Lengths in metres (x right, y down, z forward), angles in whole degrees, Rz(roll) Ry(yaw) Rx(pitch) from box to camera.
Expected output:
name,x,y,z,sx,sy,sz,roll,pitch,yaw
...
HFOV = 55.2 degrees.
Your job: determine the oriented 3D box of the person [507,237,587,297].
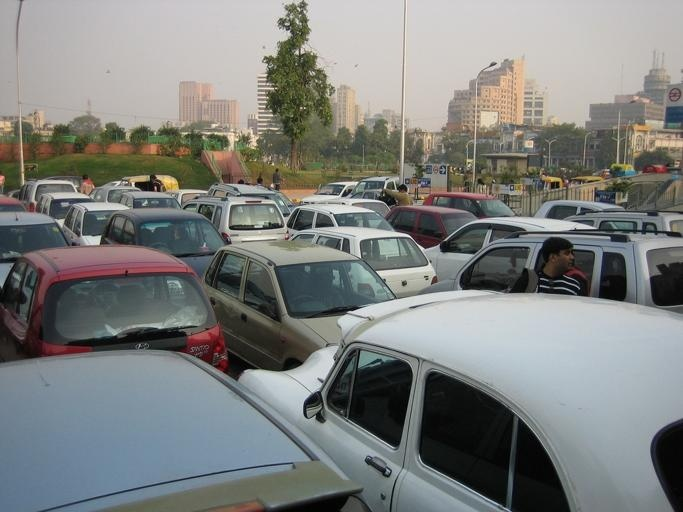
name,x,y,z,sx,sy,sz,roll,pitch,yaw
person,2.045,0.118,6.242,0.710,0.591,0.335,10,-4,-31
